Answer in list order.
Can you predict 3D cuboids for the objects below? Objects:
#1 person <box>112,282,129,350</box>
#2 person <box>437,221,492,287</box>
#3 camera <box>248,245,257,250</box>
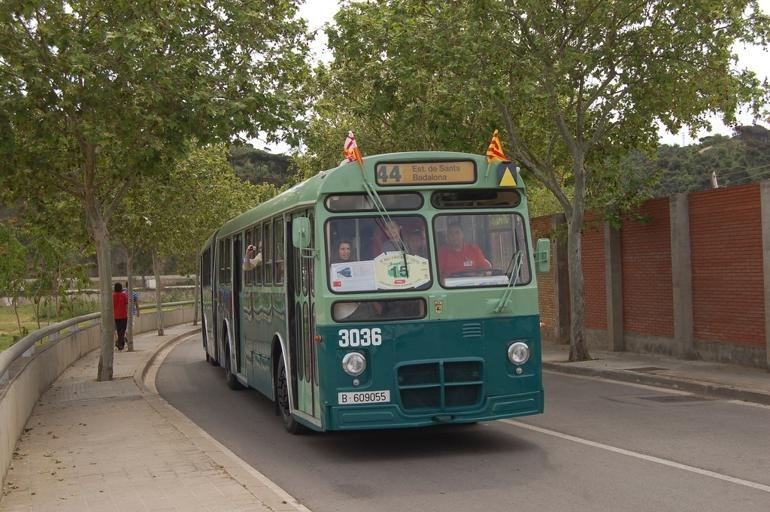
[{"bbox_3d":[-9.599,2.152,24.474,0.505,1.629,1.370,-2,-2,-21],"label":"person"},{"bbox_3d":[1.090,-0.030,10.215,1.060,0.885,0.576,-4,9,25],"label":"person"},{"bbox_3d":[-2.756,-0.178,13.964,0.075,0.126,0.232,3,7,38],"label":"camera"}]
